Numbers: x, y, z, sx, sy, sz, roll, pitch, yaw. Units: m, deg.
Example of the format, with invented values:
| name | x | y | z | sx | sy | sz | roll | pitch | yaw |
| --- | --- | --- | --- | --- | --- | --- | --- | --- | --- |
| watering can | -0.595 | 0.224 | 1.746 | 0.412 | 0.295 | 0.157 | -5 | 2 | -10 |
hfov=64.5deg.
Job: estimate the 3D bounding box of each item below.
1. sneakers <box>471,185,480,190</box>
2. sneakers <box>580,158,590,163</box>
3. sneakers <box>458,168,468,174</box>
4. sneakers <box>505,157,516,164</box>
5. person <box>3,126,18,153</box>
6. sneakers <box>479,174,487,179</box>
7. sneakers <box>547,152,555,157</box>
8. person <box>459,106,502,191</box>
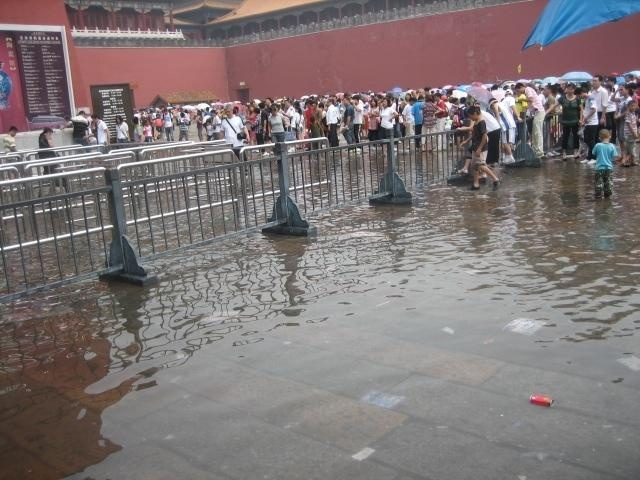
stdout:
| name | x | y | z | sx | sy | sz | roll | pitch | yaw |
| --- | --- | --- | --- | --- | --- | --- | --- | --- | --- |
| sneakers | 2.746 | -0.925 | 8.970 | 0.112 | 0.091 | 0.260 | -1 | 2 | 11 |
| sneakers | 5.761 | -1.714 | 11.076 | 0.262 | 0.098 | 0.090 | 4 | 35 | 31 |
| sneakers | 2.646 | -1.269 | 9.435 | 0.219 | 0.071 | 0.069 | 7 | 17 | 16 |
| sneakers | 4.040 | -1.702 | 10.865 | 0.148 | 0.165 | 0.058 | 7 | -3 | 5 |
| person | -8.068 | -2.622 | 13.151 | 0.377 | 0.673 | 1.170 | -15 | 14 | -28 |
| sneakers | 3.299 | -1.279 | 10.286 | 0.138 | 0.142 | 0.372 | -8 | 4 | 15 |
| sneakers | 5.550 | -2.055 | 12.205 | 0.146 | 0.041 | 0.141 | -15 | 19 | -20 |
| person | 2.842 | -1.684 | 9.195 | 0.553 | 1.433 | 1.144 | -6 | 12 | 11 |
